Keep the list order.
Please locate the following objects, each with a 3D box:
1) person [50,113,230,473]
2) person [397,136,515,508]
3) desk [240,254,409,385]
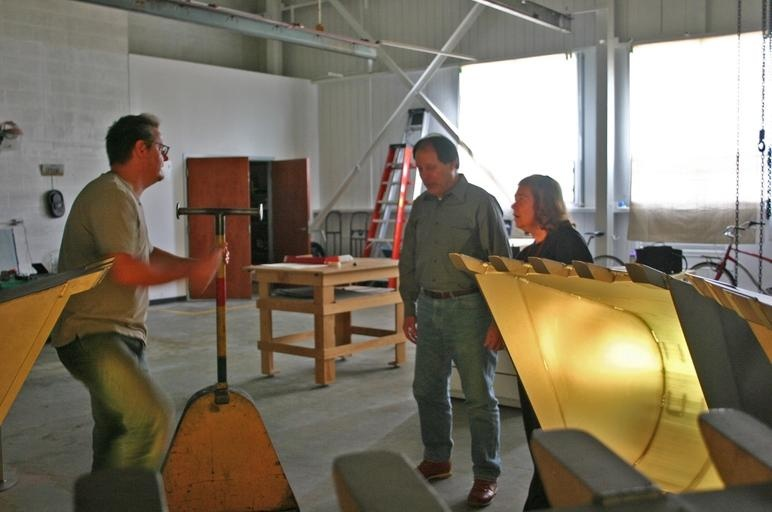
[{"bbox_3d":[-1.076,0.217,2.570,0.678,1.700,0.594,-5,7,-30],"label":"person"},{"bbox_3d":[0.350,0.317,3.321,0.375,1.966,0.660,-7,9,-42],"label":"person"},{"bbox_3d":[-0.503,0.582,5.815,0.880,1.040,1.361,-1,2,33],"label":"desk"}]
